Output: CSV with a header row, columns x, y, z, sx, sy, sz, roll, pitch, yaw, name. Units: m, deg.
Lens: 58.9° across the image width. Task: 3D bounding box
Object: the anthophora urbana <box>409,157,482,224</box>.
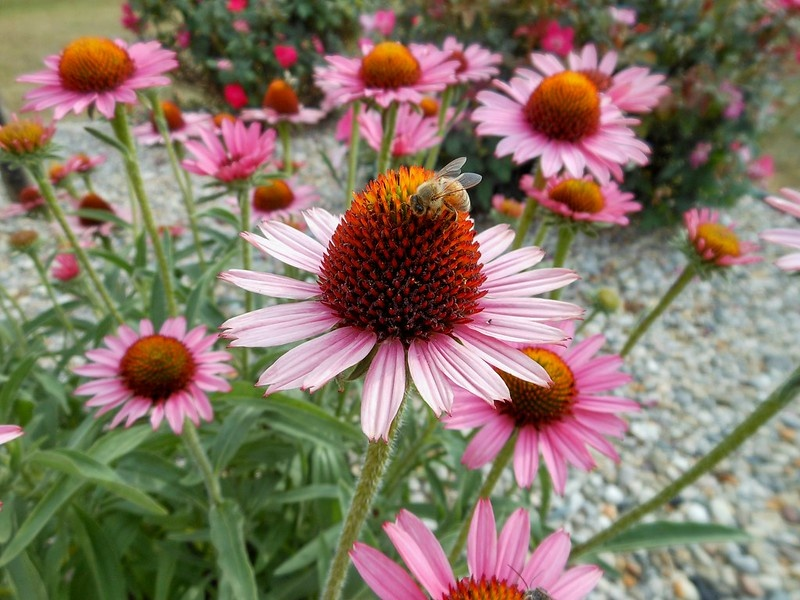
x,y,z,sx,sy,sz,roll,pitch,yaw,name
0.227,-0.466,3.229,0.352,0.115,0.255,-33,51,-12,anthophora urbana
